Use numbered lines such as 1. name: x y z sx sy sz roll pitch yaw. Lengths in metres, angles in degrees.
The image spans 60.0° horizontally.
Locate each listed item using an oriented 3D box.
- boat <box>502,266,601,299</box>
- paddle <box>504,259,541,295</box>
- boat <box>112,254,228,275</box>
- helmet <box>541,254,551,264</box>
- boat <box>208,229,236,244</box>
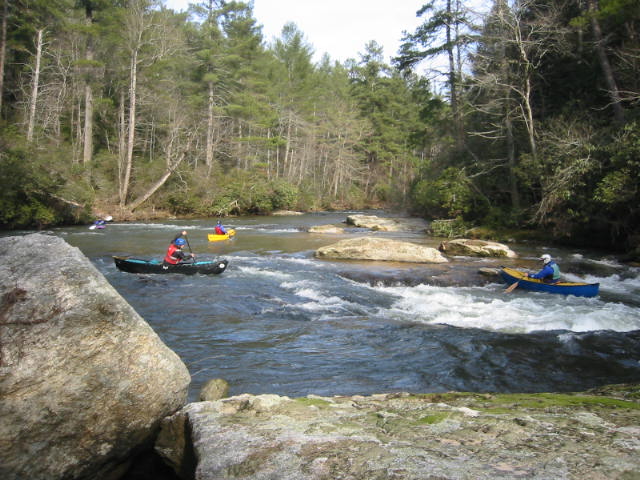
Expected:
1. boat: 6.538 1.330 16.432 1.004 0.576 2.921 -8 8 -40
2. paddle: 6.342 1.211 17.452 0.219 0.974 0.143 37 -12 50
3. boat: -4.694 0.873 17.526 3.370 0.576 0.619 -1 12 -10
4. helmet: 6.827 0.593 16.797 0.460 0.186 0.571 5 5 19
5. boat: -4.840 -0.163 26.832 1.156 0.440 1.943 0 11 -2
